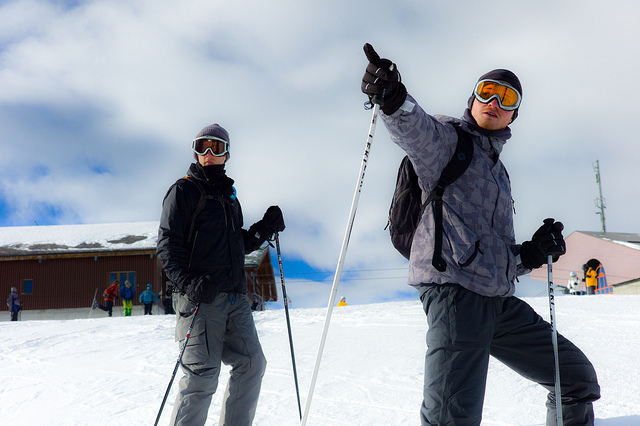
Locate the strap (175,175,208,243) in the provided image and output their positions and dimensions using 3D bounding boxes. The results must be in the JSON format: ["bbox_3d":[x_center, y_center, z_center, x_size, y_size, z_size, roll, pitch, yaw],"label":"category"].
[{"bbox_3d":[-1.355,-0.064,5.853,0.262,0.761,0.138,-3,-6,7],"label":"strap"}]

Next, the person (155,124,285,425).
[{"bbox_3d":[-1.199,0.596,5.843,1.070,3.316,0.471,0,-7,-18],"label":"person"}]

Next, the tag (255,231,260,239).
[{"bbox_3d":[-0.767,0.269,6.598,0.042,0.054,0.049,0,-3,-32],"label":"tag"}]

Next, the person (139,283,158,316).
[{"bbox_3d":[-6.789,3.483,21.271,0.671,1.515,0.423,1,16,-13],"label":"person"}]

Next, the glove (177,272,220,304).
[{"bbox_3d":[-1.272,0.777,5.663,0.369,0.300,0.198,9,3,-1],"label":"glove"}]

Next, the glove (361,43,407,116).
[{"bbox_3d":[0.503,-1.294,4.837,0.365,0.336,0.607,39,-16,44],"label":"glove"}]
